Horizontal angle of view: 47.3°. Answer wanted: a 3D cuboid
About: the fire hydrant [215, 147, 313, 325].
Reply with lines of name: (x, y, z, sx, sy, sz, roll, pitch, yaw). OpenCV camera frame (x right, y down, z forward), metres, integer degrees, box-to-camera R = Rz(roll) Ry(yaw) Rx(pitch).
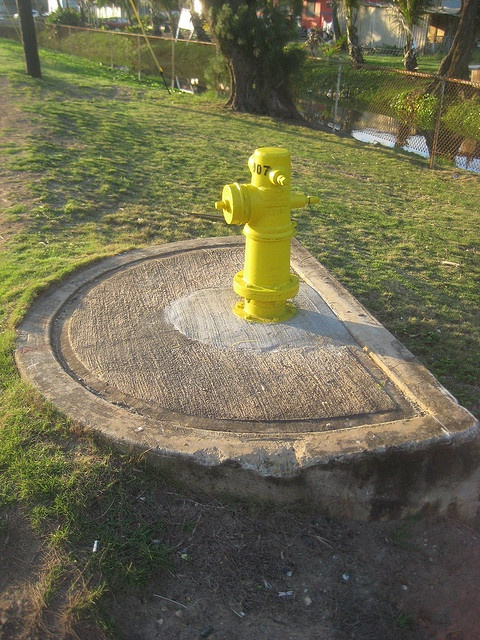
fire hydrant: (0.173, -0.603, 3.981, 0.658, 1.221, 0.474, -5, 28, -8)
